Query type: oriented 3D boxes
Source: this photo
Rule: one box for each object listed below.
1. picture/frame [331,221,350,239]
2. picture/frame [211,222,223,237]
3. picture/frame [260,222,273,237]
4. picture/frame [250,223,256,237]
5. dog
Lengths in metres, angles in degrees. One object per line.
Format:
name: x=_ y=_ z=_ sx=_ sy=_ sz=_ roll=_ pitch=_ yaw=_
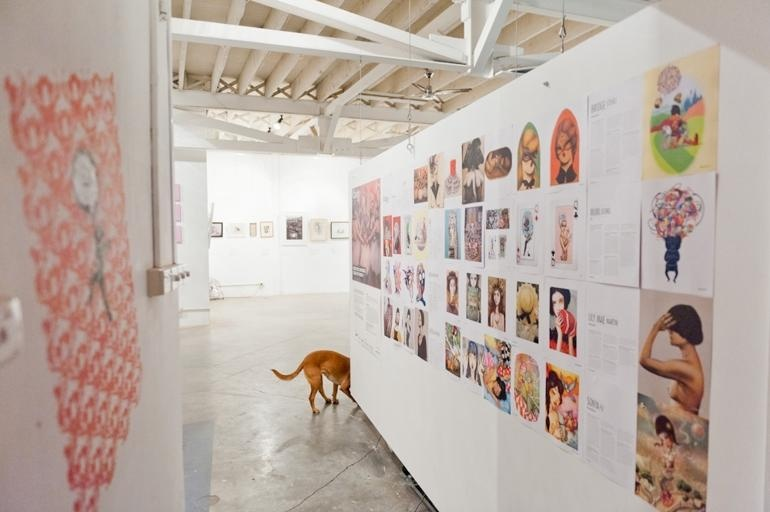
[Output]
picture/frame: x=-1.212 y=-0.702 z=13.890 sx=0.612 sy=0.565 sz=0.064 roll=2 pitch=-8 yaw=-29
picture/frame: x=-4.221 y=-0.682 z=12.979 sx=0.337 sy=0.404 sz=0.039 roll=0 pitch=8 yaw=-13
picture/frame: x=-3.089 y=-0.693 z=13.457 sx=0.340 sy=0.466 sz=0.033 roll=-2 pitch=10 yaw=-20
picture/frame: x=-3.392 y=-0.682 z=13.354 sx=0.176 sy=0.329 sz=0.030 roll=-2 pitch=6 yaw=-23
dog: x=-0.626 y=1.297 z=5.485 sx=0.696 sy=0.622 sz=0.703 roll=1 pitch=6 yaw=10
